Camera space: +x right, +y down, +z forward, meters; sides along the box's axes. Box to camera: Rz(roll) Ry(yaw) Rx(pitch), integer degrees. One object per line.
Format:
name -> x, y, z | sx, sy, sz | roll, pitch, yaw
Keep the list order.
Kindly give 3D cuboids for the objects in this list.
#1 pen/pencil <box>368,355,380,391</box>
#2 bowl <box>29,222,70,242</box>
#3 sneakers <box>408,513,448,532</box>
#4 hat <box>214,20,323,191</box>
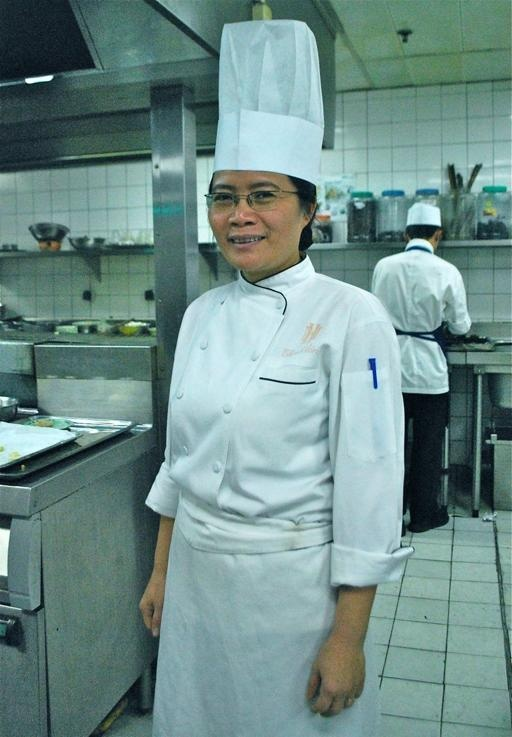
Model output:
pen/pencil -> 0.185, 0.007, 1.212 | 0.011, 0.048, 0.018 | -5, 14, -34
bowl -> -1.135, -0.745, 4.245 | 0.256, 0.107, 0.150 | 12, 14, 43
sneakers -> 0.792, 0.697, 3.502 | 0.223, 0.086, 0.072 | 0, -11, -36
hat -> 0.023, -0.455, 1.308 | 0.179, 0.264, 0.140 | 2, 11, -1
